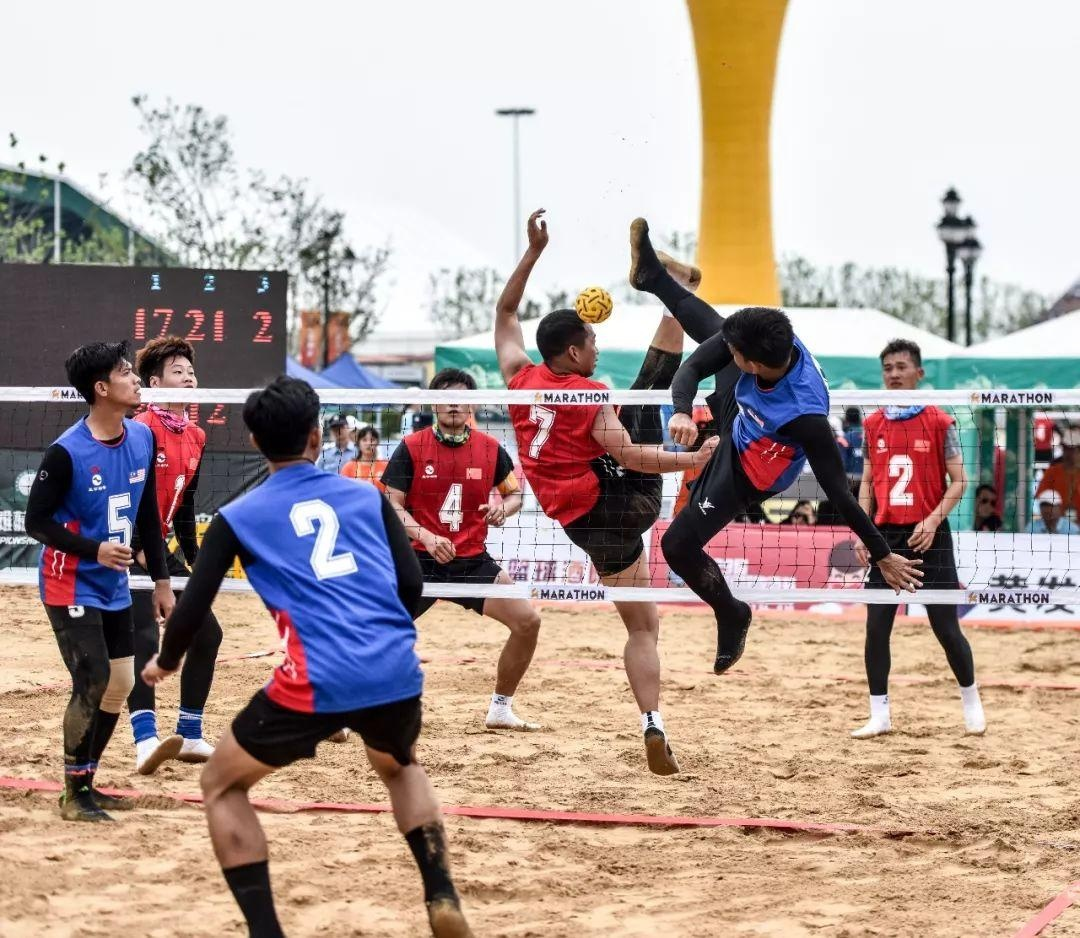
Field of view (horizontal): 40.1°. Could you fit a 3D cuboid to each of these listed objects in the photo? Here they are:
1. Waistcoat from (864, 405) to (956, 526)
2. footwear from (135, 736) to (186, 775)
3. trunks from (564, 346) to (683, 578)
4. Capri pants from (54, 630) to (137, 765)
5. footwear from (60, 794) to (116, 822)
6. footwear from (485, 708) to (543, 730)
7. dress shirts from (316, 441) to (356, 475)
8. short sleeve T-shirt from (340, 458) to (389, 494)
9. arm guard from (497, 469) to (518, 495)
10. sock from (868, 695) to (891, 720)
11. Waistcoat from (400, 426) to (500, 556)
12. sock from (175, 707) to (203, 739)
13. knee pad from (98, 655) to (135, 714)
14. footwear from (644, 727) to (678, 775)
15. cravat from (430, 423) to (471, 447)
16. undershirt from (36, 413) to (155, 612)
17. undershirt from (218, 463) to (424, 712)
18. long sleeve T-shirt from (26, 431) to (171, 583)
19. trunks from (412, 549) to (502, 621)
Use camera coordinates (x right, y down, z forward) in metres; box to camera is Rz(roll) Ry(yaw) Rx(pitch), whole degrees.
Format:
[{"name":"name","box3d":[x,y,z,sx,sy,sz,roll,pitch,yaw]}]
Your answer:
[{"name":"Waistcoat","box3d":[2.133,-0.031,8.636,0.491,0.728,0.267,0,10,27]},{"name":"footwear","box3d":[-1.860,1.399,7.221,0.205,0.162,0.466,4,-25,-28]},{"name":"trunks","box3d":[0.434,0.199,8.572,0.630,0.426,1.662,-9,10,10]},{"name":"Capri pants","box3d":[-2.049,1.069,6.931,0.349,0.703,0.243,-3,5,-38]},{"name":"footwear","box3d":[-2.087,1.568,6.873,0.222,0.101,0.120,1,-1,18]},{"name":"footwear","box3d":[-0.118,1.497,8.772,0.379,0.183,0.125,1,0,-12]},{"name":"dress shirts","box3d":[-1.680,-0.083,12.411,0.286,0.393,0.212,0,-14,0]},{"name":"short sleeve T-shirt","box3d":[-1.138,0.045,9.753,0.221,0.226,0.123,-1,-20,0]},{"name":"arm guard","box3d":[-0.179,0.107,8.923,0.128,0.142,0.136,-26,-7,-6]},{"name":"sock","box3d":[2.006,1.399,8.760,0.129,0.223,0.160,-1,3,7]},{"name":"Waistcoat","box3d":[-0.523,0.130,8.570,0.680,0.774,0.418,1,-7,-13]},{"name":"sock","box3d":[-1.790,1.325,7.705,0.159,0.175,0.163,0,2,-1]},{"name":"knee pad","box3d":[-1.986,1.029,7.001,0.172,0.240,0.243,-1,-1,11]},{"name":"footwear","box3d":[0.596,1.396,7.221,0.116,0.305,0.120,-8,39,18]},{"name":"cravat","box3d":[-0.502,-0.188,8.754,0.154,0.069,0.138,5,-9,-19]},{"name":"undershirt","box3d":[-2.090,0.210,6.973,0.369,0.882,0.459,5,6,32]},{"name":"undershirt","box3d":[-0.784,0.422,5.516,0.632,0.889,0.472,-12,-4,-17]},{"name":"long sleeve T-shirt","box3d":[-2.028,0.182,6.913,0.705,0.837,0.431,-5,8,-44]},{"name":"trunks","box3d":[-0.473,0.636,8.504,0.437,0.381,0.161,0,19,-17]}]
